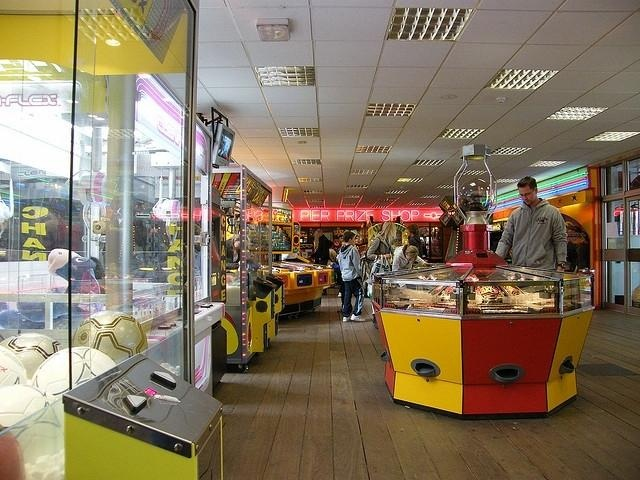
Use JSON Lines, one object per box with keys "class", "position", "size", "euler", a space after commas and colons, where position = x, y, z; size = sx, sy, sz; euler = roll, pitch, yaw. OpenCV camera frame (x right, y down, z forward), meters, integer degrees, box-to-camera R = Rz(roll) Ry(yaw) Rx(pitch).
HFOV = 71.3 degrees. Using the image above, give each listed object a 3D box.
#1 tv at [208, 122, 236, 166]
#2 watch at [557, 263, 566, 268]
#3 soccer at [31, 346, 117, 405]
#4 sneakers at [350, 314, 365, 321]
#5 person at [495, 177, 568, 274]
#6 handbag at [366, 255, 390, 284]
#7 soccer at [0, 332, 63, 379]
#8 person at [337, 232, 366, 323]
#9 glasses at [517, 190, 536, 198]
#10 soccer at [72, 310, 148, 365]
{"class": "tv", "position": [-1.360, -1.236, 5.784], "size": [0.312, 0.494, 0.528], "euler": [12, 3, 2]}
{"class": "watch", "position": [2.150, 0.233, 4.000], "size": [0.062, 0.051, 0.072], "euler": [-1, 1, -44]}
{"class": "soccer", "position": [-0.864, 0.452, 1.547], "size": [0.273, 0.128, 0.235], "euler": [-1, 1, -21]}
{"class": "sneakers", "position": [0.620, 1.340, 7.625], "size": [0.263, 0.104, 0.097], "euler": [2, -2, -3]}
{"class": "person", "position": [2.017, -0.168, 4.280], "size": [0.595, 0.906, 0.499], "euler": [0, 1, 31]}
{"class": "handbag", "position": [0.950, 0.432, 7.299], "size": [0.348, 0.410, 0.924], "euler": [-1, 1, 6]}
{"class": "soccer", "position": [-1.061, 0.409, 1.697], "size": [0.211, 0.169, 0.175], "euler": [-2, 41, -20]}
{"class": "person", "position": [0.496, 0.615, 7.540], "size": [0.423, 1.527, 0.681], "euler": [-1, 1, 5]}
{"class": "glasses", "position": [1.958, -0.430, 4.221], "size": [0.094, 0.042, 0.100], "euler": [-2, -3, 38]}
{"class": "soccer", "position": [-0.783, 0.364, 1.684], "size": [0.174, 0.170, 0.195], "euler": [-33, 29, -15]}
